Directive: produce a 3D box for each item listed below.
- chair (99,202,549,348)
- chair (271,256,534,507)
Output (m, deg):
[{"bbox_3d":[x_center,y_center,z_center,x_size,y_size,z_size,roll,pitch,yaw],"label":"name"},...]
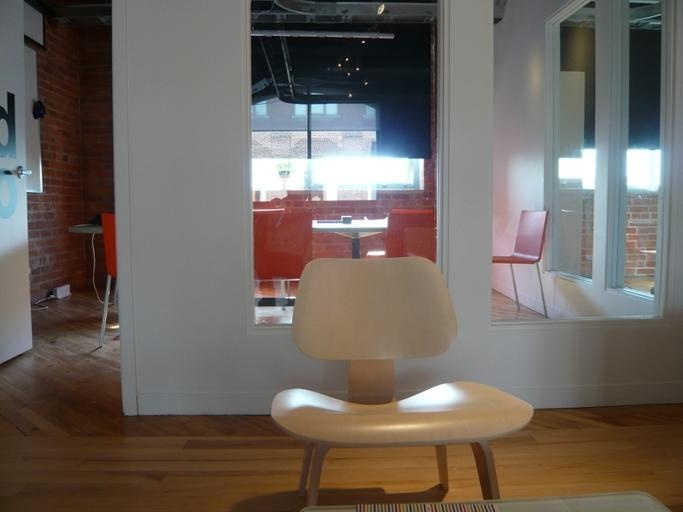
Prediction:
[{"bbox_3d":[-0.133,0.100,3.107,1.904,0.819,0.459,-1,2,-2],"label":"chair"},{"bbox_3d":[0.206,0.628,2.441,1.035,1.136,0.804,-3,14,-8],"label":"chair"}]
